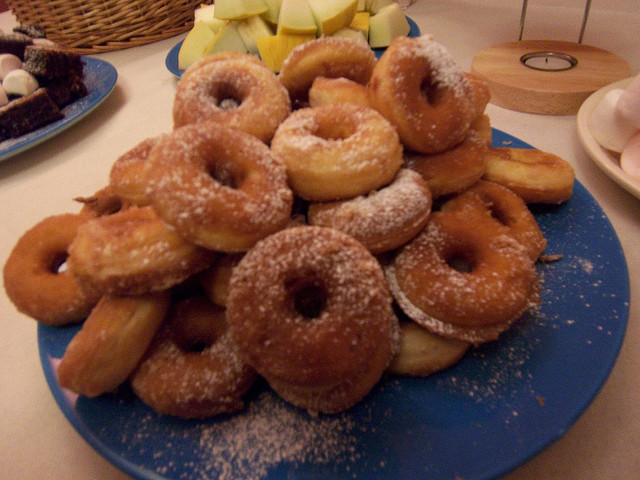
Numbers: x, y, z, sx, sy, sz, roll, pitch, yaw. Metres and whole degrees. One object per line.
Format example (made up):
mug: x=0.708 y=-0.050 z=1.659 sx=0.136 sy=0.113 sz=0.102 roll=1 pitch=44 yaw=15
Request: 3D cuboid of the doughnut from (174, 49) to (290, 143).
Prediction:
doughnut: x=-0.197 y=-0.312 z=1.309 sx=0.200 sy=0.080 sz=0.223 roll=-6 pitch=74 yaw=-4

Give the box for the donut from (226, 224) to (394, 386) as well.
donut: x=-0.023 y=0.131 z=1.159 sx=0.321 sy=0.140 sz=0.273 roll=-19 pitch=56 yaw=-7

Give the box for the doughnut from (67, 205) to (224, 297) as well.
doughnut: x=-0.360 y=0.054 z=1.225 sx=0.237 sy=0.081 sz=0.190 roll=-9 pitch=36 yaw=2

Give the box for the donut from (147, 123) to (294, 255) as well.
donut: x=-0.194 y=-0.110 z=1.178 sx=0.258 sy=0.097 sz=0.267 roll=-29 pitch=72 yaw=-37

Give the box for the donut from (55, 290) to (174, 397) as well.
donut: x=-0.409 y=0.216 z=1.241 sx=0.134 sy=0.088 sz=0.266 roll=27 pitch=82 yaw=30

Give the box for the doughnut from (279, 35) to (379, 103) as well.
doughnut: x=0.019 y=-0.397 z=1.359 sx=0.152 sy=0.162 sz=0.056 roll=-21 pitch=72 yaw=17

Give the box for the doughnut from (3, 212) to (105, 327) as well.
doughnut: x=-0.596 y=0.077 z=1.354 sx=0.222 sy=0.089 sz=0.254 roll=1 pitch=69 yaw=0

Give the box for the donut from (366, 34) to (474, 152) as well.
donut: x=0.217 y=-0.287 z=1.256 sx=0.221 sy=0.079 sz=0.251 roll=-5 pitch=87 yaw=-22
